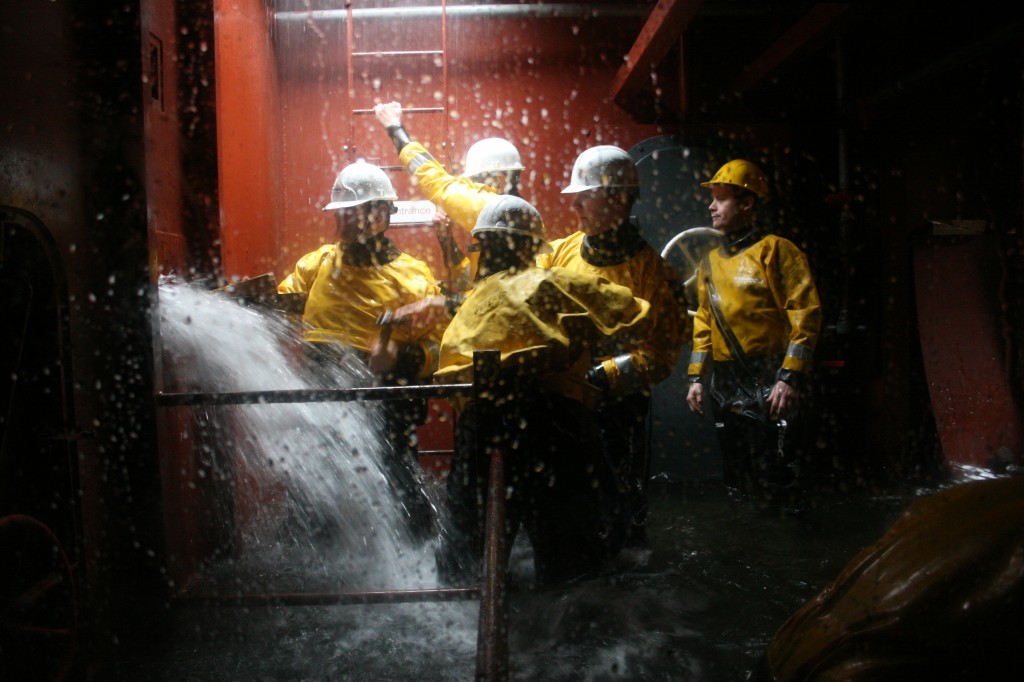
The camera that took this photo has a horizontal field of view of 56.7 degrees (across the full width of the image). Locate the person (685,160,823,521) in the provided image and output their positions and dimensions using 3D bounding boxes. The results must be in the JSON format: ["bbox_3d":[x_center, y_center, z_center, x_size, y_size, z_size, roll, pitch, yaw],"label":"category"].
[{"bbox_3d":[1.914,-0.035,7.551,1.086,2.443,0.576,-4,-2,34],"label":"person"}]

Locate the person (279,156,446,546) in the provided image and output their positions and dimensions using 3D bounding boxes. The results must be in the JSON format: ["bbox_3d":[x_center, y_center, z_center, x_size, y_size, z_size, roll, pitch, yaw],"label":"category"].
[{"bbox_3d":[-1.102,0.045,7.383,1.145,2.922,0.544,-3,-1,-4],"label":"person"}]

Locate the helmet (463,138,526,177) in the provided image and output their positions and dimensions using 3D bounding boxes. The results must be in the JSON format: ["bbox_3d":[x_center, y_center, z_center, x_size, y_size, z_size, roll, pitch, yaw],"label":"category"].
[{"bbox_3d":[-0.168,-1.520,7.863,0.411,0.232,0.316,-4,8,-17],"label":"helmet"}]

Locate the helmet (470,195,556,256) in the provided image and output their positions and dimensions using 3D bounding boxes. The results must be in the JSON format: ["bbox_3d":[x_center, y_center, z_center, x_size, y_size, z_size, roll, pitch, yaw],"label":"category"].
[{"bbox_3d":[0.006,-0.825,6.359,0.583,0.338,0.456,2,7,-12],"label":"helmet"}]

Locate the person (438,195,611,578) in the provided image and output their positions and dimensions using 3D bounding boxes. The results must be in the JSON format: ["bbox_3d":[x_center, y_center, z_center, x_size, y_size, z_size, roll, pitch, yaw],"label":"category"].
[{"bbox_3d":[0.129,0.336,6.144,1.200,1.853,0.832,-2,-2,-21],"label":"person"}]

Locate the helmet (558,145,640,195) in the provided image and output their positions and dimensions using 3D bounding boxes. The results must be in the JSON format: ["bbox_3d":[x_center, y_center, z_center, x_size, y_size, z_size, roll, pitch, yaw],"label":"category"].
[{"bbox_3d":[0.675,-1.305,7.058,0.670,0.393,0.525,0,12,11],"label":"helmet"}]

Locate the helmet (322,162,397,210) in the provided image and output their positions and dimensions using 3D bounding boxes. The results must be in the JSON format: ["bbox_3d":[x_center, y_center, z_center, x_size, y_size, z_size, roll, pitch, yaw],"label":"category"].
[{"bbox_3d":[-1.212,-1.268,7.548,0.635,0.387,0.501,-17,22,-38],"label":"helmet"}]

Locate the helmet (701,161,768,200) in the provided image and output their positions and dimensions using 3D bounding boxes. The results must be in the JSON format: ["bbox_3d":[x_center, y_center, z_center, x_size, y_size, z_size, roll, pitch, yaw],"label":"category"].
[{"bbox_3d":[1.840,-1.292,7.681,0.380,0.211,0.298,20,4,-5],"label":"helmet"}]
